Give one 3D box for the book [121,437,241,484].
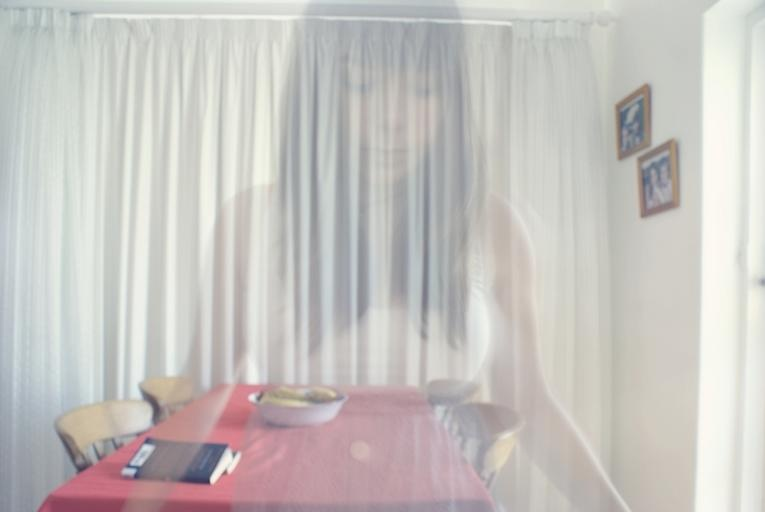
[{"bbox_3d":[-0.238,0.225,0.869,0.093,0.028,0.076,1,18,3],"label":"book"}]
